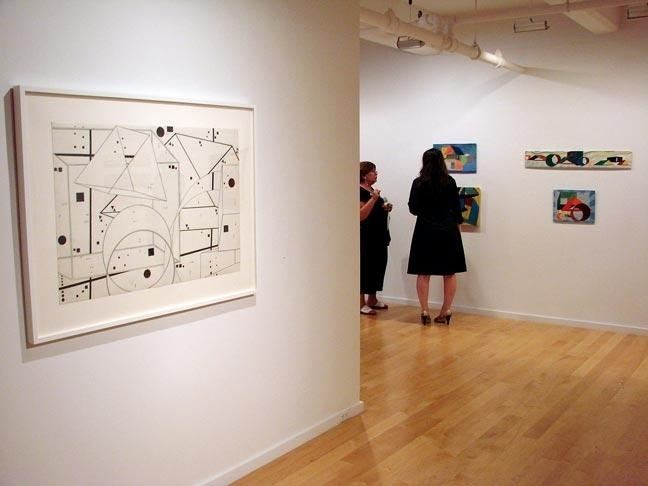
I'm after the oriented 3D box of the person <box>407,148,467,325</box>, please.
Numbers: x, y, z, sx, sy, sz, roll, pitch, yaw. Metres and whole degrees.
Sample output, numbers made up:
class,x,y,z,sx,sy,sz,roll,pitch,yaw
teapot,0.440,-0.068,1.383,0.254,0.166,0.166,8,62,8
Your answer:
class,x,y,z,sx,sy,sz,roll,pitch,yaw
person,1.478,-0.058,5.957,0.747,2.270,0.342,1,8,12

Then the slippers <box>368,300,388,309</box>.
class,x,y,z,sx,sy,sz,roll,pitch,yaw
slippers,0.797,0.917,6.688,0.215,0.088,0.123,-2,5,4

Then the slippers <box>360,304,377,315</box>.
class,x,y,z,sx,sy,sz,roll,pitch,yaw
slippers,0.616,0.937,6.402,0.273,0.082,0.109,-1,2,45

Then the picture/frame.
class,x,y,z,sx,sy,sz,roll,pitch,yaw
picture/frame,-1.020,-0.143,2.380,0.102,1.322,1.405,9,11,41

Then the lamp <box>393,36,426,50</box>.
class,x,y,z,sx,sy,sz,roll,pitch,yaw
lamp,0.877,-2.025,4.720,0.201,0.112,0.289,-6,21,-26

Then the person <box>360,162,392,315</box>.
class,x,y,z,sx,sy,sz,roll,pitch,yaw
person,0.721,-0.044,6.359,0.396,2.108,0.595,1,8,8

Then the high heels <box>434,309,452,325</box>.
class,x,y,z,sx,sy,sz,roll,pitch,yaw
high heels,1.577,0.989,6.076,0.115,0.159,0.219,-4,7,-28

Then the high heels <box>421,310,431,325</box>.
class,x,y,z,sx,sy,sz,roll,pitch,yaw
high heels,1.337,0.982,6.013,0.073,0.113,0.229,-6,24,13
